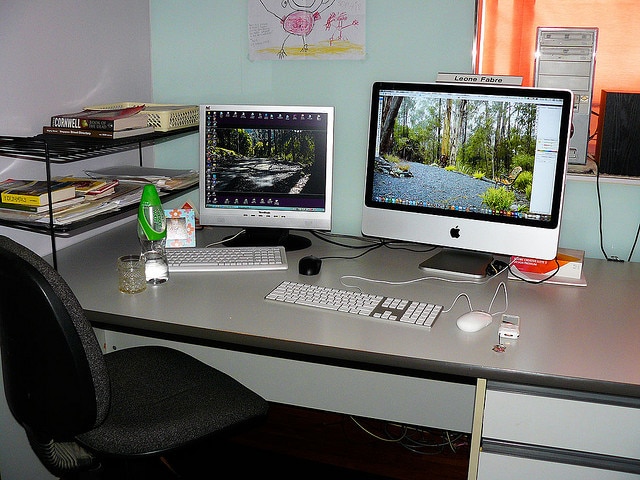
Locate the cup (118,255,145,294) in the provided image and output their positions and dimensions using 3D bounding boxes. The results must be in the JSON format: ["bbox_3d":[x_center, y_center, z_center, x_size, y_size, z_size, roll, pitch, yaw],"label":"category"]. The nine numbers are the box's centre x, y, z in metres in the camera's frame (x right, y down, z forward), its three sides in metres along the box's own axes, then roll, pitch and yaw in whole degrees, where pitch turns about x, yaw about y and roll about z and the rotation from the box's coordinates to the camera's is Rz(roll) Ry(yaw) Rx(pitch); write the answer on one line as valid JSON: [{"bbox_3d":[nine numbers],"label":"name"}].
[{"bbox_3d":[-0.605,0.096,1.565,0.080,0.122,0.126,-1,15,-24],"label":"cup"}]

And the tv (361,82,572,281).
[{"bbox_3d":[0.501,-0.208,1.649,0.614,0.566,0.198,8,22,25],"label":"tv"}]
